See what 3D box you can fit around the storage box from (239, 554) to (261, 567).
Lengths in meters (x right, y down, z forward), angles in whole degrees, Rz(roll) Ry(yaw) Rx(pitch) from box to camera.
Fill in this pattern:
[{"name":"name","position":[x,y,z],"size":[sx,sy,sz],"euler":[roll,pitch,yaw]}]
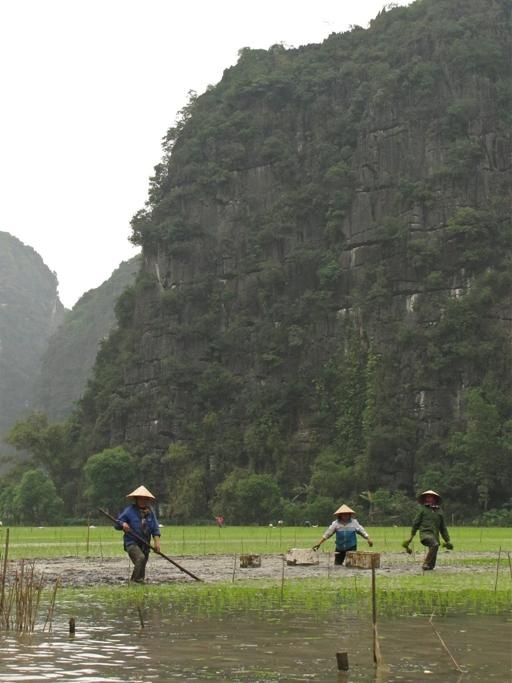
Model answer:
[{"name":"storage box","position":[-0.427,12.210,108.903],"size":[1.172,0.930,1.082],"euler":[1,-12,-2]}]
